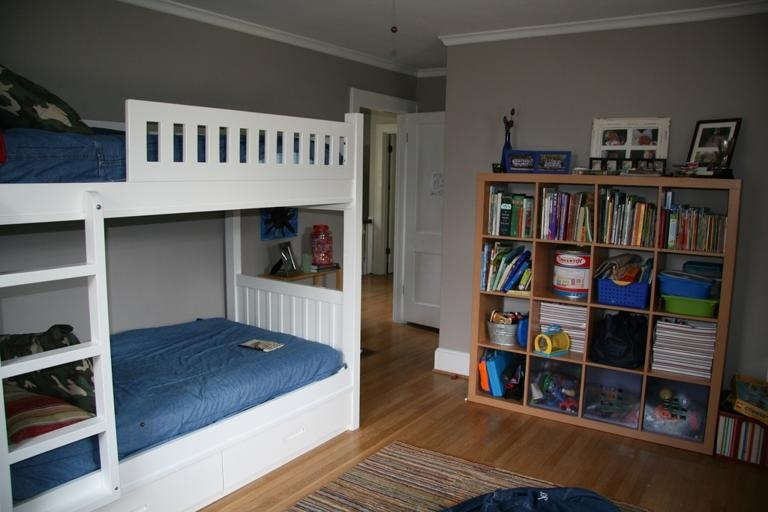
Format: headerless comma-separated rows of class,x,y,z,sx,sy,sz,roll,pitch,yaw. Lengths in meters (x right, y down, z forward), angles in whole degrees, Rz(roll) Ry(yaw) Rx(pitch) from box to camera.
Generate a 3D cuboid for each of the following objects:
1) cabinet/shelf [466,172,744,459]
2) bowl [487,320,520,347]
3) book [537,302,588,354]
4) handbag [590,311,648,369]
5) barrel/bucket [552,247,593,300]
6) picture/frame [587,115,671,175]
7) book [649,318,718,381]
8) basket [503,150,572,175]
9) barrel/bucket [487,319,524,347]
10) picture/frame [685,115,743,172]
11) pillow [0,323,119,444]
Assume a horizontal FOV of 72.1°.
cabinet/shelf,1.782,0.469,4.080,2.033,1.798,0.540,8,11,29
bowl,1.010,0.669,4.434,0.225,0.123,0.197,0,0,4
book,1.462,0.602,4.264,0.395,0.367,0.230,7,11,39
handbag,1.832,0.674,4.080,0.286,0.437,0.466,3,1,-45
barrel/bucket,1.511,0.161,4.246,0.361,0.373,0.361,1,3,0
picture/frame,1.957,-0.866,4.152,0.513,0.455,0.050,9,1,27
book,2.225,0.684,3.929,0.399,0.400,0.172,7,15,25
basket,1.250,-0.759,4.291,0.498,0.183,0.112,7,15,24
barrel/bucket,0.999,0.659,4.420,0.229,0.125,0.203,0,1,16
picture/frame,2.466,-0.825,3.909,0.408,0.526,0.046,14,-3,43
pillow,-1.851,0.778,2.951,0.155,0.557,0.555,-32,-16,34
